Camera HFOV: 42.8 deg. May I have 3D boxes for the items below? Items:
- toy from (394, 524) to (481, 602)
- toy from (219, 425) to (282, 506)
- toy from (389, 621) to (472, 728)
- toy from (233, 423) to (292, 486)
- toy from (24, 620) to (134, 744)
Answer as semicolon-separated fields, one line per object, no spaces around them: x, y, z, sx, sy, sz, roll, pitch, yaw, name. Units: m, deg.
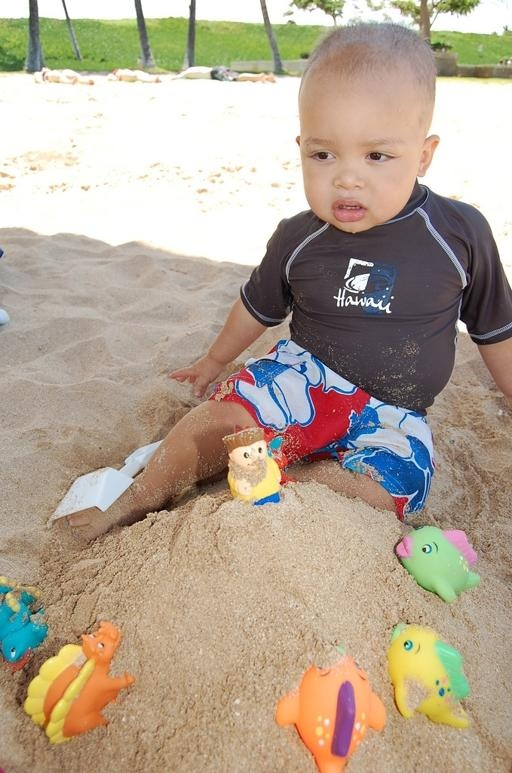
0.400;0.382;1.443;0.160;0.102;0.166;24;37;37;toy
-0.012;0.181;1.423;0.102;0.179;0.143;0;18;45;toy
0.327;0.553;1.259;0.150;0.122;0.141;2;29;4;toy
0.011;0.156;1.485;0.125;0.115;0.077;-12;19;-31;toy
-0.325;0.557;1.229;0.167;0.083;0.216;35;76;26;toy
